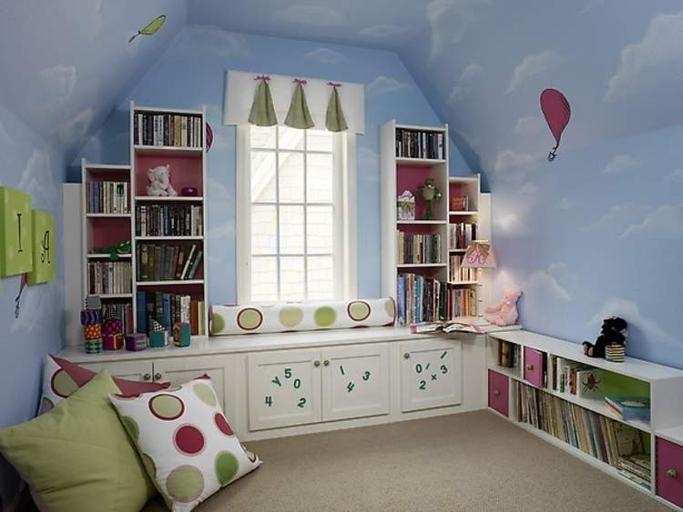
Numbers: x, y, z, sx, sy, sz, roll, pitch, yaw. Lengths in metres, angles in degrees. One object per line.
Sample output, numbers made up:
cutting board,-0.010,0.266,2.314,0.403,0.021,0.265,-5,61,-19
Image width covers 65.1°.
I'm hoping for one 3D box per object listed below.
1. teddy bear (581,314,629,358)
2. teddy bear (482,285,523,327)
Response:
teddy bear,1.746,0.532,3.527,0.246,0.301,0.184,8,-9,9
teddy bear,1.298,0.399,4.320,0.245,0.350,0.230,12,17,33
